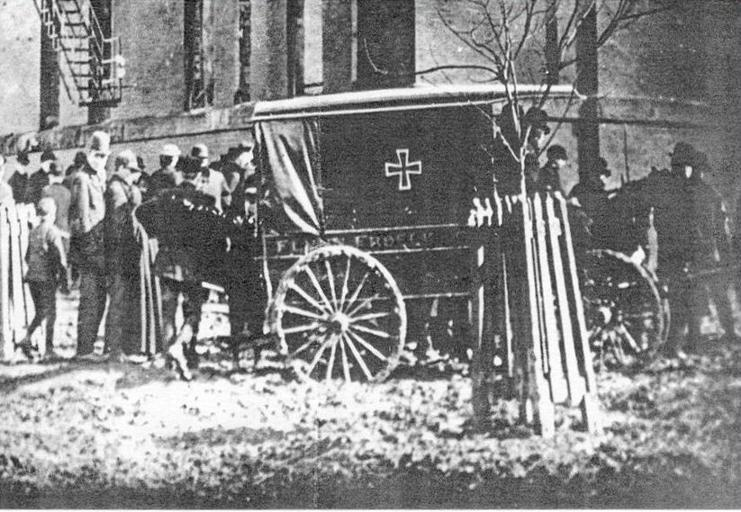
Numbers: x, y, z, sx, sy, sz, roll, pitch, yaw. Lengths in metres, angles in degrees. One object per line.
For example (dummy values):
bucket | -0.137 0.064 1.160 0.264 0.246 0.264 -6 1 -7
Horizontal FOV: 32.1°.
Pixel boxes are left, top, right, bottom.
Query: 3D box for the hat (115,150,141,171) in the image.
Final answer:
hat | -2.366 -0.902 12.537 0.231 0.200 0.159 15 1 2

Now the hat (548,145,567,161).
hat | 1.811 -0.977 12.293 0.163 0.158 0.130 -6 7 4

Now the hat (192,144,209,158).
hat | -1.657 -0.996 12.356 0.160 0.131 0.117 -1 9 2

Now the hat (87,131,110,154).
hat | -2.681 -1.095 12.555 0.210 0.216 0.196 1 8 -16

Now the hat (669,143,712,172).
hat | 3.091 -0.920 12.296 0.295 0.313 0.082 -4 1 -1
